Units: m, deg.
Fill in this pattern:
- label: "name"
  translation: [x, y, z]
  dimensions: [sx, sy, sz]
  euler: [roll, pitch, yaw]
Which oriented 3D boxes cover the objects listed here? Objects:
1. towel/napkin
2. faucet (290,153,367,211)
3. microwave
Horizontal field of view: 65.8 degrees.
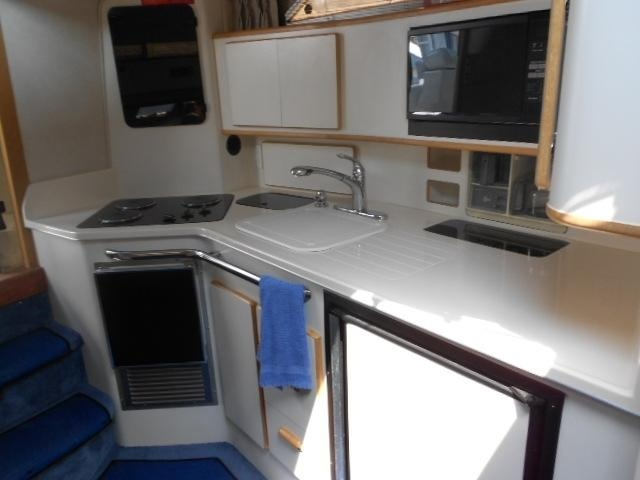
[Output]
- label: "towel/napkin"
  translation: [-0.130, 0.359, 1.850]
  dimensions: [0.203, 0.423, 0.127]
  euler: [2, 19, 7]
- label: "faucet"
  translation: [0.040, -0.300, 2.362]
  dimensions: [0.338, 0.260, 0.354]
  euler: [-1, 19, -1]
- label: "microwave"
  translation: [0.573, -0.593, 1.761]
  dimensions: [0.559, 0.401, 0.300]
  euler: [15, 24, 41]
